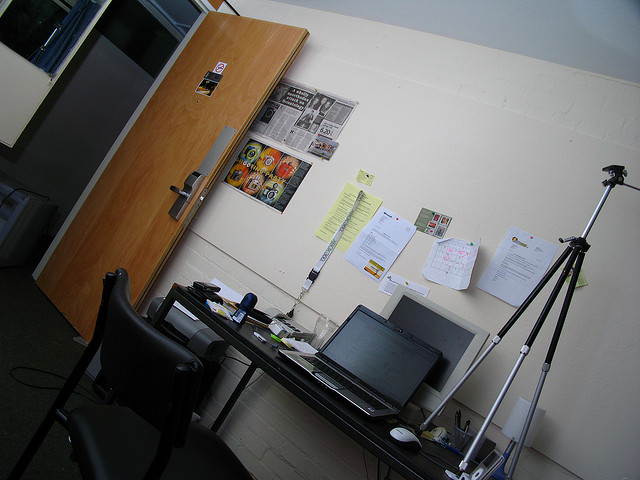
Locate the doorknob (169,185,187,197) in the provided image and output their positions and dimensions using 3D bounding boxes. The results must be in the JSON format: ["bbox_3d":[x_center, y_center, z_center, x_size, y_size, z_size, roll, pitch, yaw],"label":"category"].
[{"bbox_3d":[-0.988,-0.345,2.778,0.180,0.040,0.046,33,4,30],"label":"doorknob"}]

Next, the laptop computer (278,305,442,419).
[{"bbox_3d":[0.244,0.479,1.911,0.552,0.354,0.495,27,1,42],"label":"laptop computer"}]

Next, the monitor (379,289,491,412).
[{"bbox_3d":[0.591,0.496,2.058,0.513,0.604,0.259,8,7,41],"label":"monitor"}]

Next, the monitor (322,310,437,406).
[{"bbox_3d":[0.305,0.575,1.984,0.479,0.305,0.349,32,-15,17],"label":"monitor"}]

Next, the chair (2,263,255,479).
[{"bbox_3d":[-0.894,0.642,1.944,0.685,1.249,0.793,30,11,37],"label":"chair"}]
